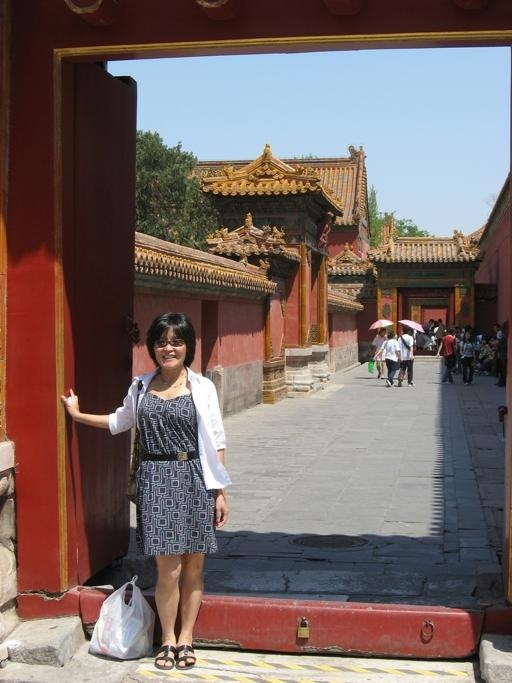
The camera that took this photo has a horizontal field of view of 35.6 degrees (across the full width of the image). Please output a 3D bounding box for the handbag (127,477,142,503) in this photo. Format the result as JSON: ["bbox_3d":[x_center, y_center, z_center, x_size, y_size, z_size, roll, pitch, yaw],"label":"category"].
[{"bbox_3d":[-0.528,0.646,3.498,0.083,0.124,0.123,0,-11,0],"label":"handbag"}]

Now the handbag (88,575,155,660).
[{"bbox_3d":[-0.583,1.201,3.479,0.222,0.343,0.197,0,-8,18],"label":"handbag"}]

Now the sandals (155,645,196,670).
[{"bbox_3d":[-0.339,1.323,3.335,0.170,0.092,0.093,0,1,-8],"label":"sandals"}]

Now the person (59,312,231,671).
[{"bbox_3d":[-0.380,0.621,3.456,0.581,1.489,0.379,1,2,41],"label":"person"}]
